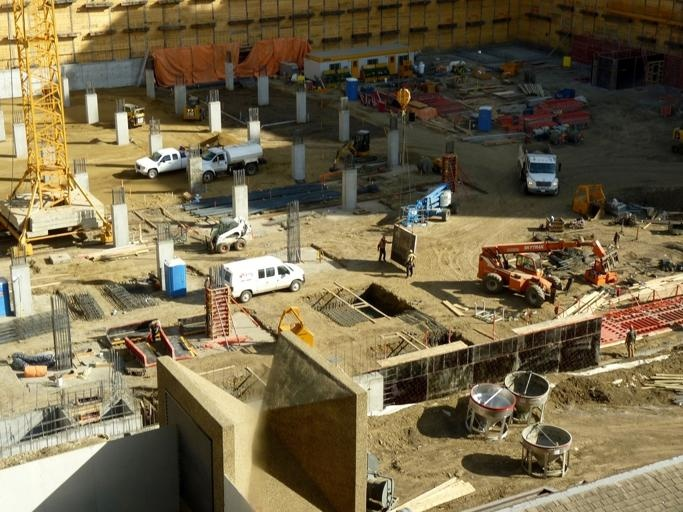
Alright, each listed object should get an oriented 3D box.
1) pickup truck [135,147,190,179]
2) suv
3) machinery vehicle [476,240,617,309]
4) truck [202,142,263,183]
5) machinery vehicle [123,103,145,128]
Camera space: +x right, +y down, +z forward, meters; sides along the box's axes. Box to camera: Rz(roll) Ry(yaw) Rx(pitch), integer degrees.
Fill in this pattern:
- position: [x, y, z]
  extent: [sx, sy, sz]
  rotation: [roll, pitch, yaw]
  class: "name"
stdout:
- position: [-10.825, -5.803, 49.510]
  extent: [3.132, 1.176, 1.748]
  rotation: [-19, 29, -29]
  class: "pickup truck"
- position: [-3.371, 0.971, 36.554]
  extent: [3.569, 1.559, 1.796]
  rotation: [-11, 14, -18]
  class: "suv"
- position: [8.627, 0.871, 36.910]
  extent: [6.778, 2.918, 3.783]
  rotation: [2, 16, -4]
  class: "machinery vehicle"
- position: [-6.910, -5.878, 49.969]
  extent: [4.397, 2.035, 1.652]
  rotation: [-13, 20, -32]
  class: "truck"
- position: [-14.513, -10.115, 58.646]
  extent: [1.434, 1.833, 2.495]
  rotation: [-11, 18, -36]
  class: "machinery vehicle"
